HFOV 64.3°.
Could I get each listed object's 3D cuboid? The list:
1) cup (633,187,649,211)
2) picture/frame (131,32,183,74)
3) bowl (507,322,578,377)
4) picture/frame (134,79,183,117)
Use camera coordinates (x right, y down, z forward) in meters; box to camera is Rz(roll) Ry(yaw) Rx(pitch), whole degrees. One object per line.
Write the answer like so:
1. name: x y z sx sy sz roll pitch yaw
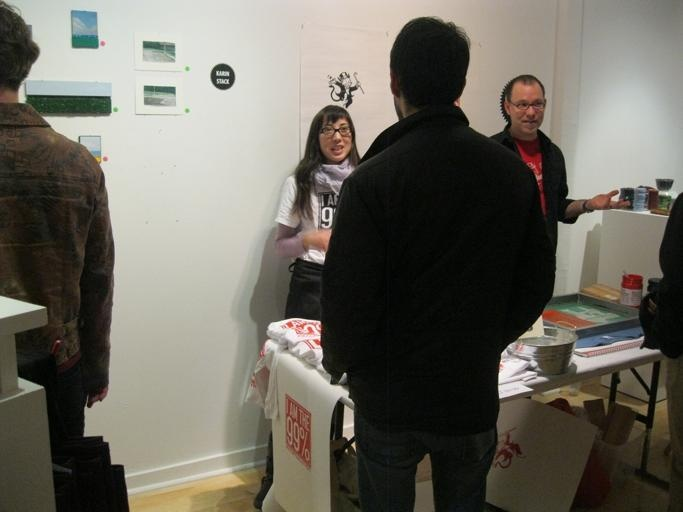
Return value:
1. cup: 1.619 -0.303 2.956 0.106 0.166 0.105 1 4 0
2. picture/frame: -0.838 -0.915 2.436 0.181 0.145 0.003 -6 10 -25
3. bowl: 0.785 0.337 2.108 0.213 0.142 0.357 -16 11 9
4. picture/frame: -0.839 -0.720 2.463 0.170 0.140 0.007 -2 2 -27
